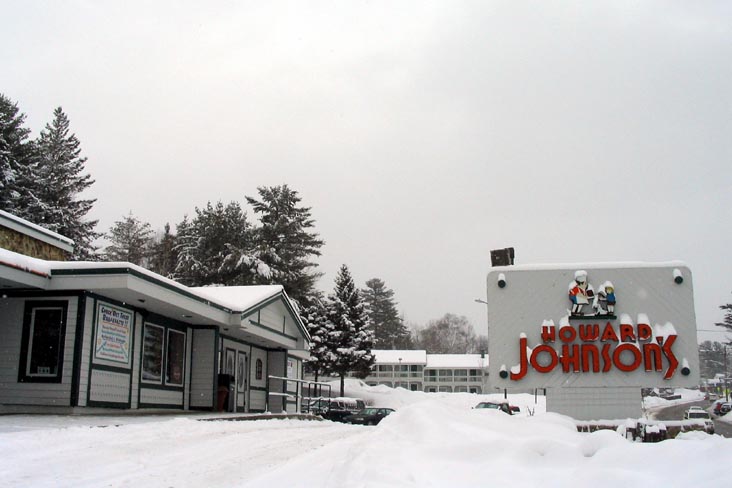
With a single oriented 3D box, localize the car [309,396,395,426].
[{"bbox_3d":[-0.878,9.149,37.271,3.212,1.741,5.919,5,-18,-17],"label":"car"}]
